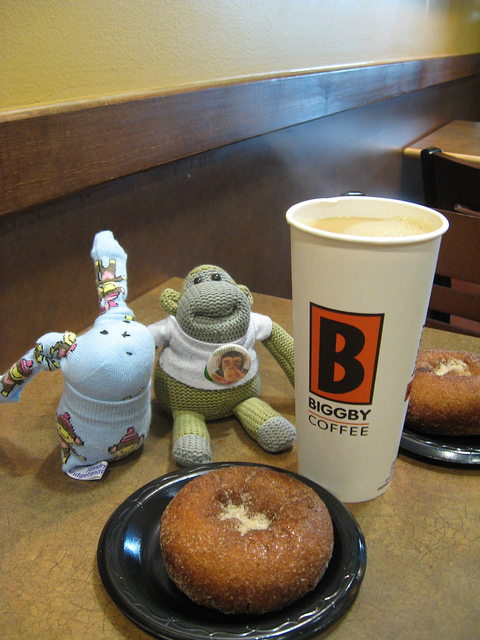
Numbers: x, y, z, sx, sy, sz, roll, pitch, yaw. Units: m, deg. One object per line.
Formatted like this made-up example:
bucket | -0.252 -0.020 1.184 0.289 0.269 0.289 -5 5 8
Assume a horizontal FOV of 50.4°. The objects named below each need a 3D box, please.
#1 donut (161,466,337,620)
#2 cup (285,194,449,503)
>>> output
donut | 0.006 0.165 0.395 0.132 0.046 0.114 -7 31 -12
cup | 0.095 0.037 0.446 0.116 0.271 0.110 0 29 0
